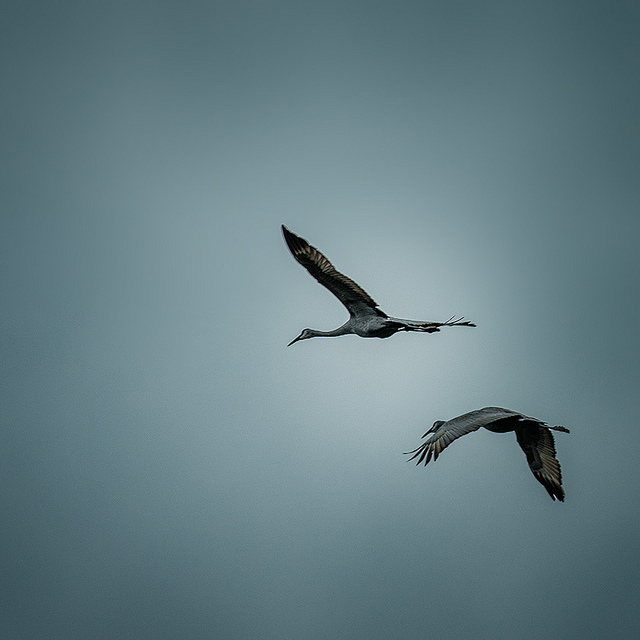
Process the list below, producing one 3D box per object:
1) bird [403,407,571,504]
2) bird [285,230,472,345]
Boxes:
[{"bbox_3d":[0.552,0.356,3.589,0.511,0.176,0.335,20,-38,-39],"label":"bird"},{"bbox_3d":[0.155,-0.077,4.013,0.396,0.546,0.131,-15,-82,6],"label":"bird"}]
